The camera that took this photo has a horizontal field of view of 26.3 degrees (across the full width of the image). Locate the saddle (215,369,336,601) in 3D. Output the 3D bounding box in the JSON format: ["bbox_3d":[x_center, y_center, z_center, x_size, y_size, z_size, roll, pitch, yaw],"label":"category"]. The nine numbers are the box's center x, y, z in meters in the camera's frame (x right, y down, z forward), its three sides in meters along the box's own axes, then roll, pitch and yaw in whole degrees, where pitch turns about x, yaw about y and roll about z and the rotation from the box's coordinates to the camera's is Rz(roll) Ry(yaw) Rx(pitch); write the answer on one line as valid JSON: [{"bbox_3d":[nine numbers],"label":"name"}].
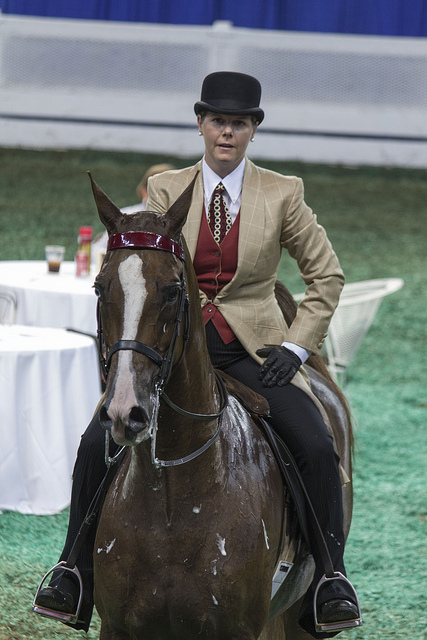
[{"bbox_3d":[0.215,0.480,2.668,0.392,0.606,0.362,-1,21,2],"label":"saddle"}]

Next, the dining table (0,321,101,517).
[{"bbox_3d":[-0.857,0.496,4.521,0.501,0.794,0.583,8,14,7],"label":"dining table"}]
